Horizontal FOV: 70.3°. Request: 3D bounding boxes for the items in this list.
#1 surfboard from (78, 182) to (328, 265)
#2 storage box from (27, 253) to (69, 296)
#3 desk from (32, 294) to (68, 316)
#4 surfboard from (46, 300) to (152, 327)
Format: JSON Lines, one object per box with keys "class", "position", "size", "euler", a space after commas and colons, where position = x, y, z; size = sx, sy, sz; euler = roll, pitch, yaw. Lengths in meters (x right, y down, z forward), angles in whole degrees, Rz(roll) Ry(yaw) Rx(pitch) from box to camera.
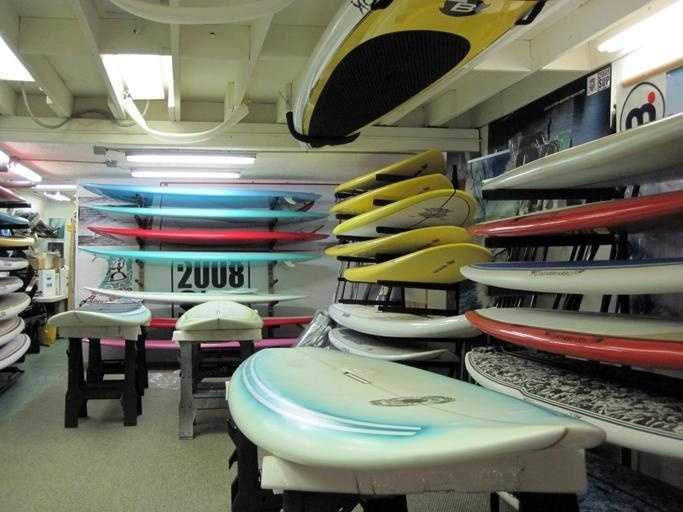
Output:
{"class": "surfboard", "position": [-1.461, -0.350, 5.390], "size": [2.462, 0.818, 0.655], "euler": [1, 4, -5]}
{"class": "storage box", "position": [-3.851, 0.251, 6.317], "size": [0.535, 0.426, 0.789], "euler": [-2, 2, -9]}
{"class": "desk", "position": [-3.947, 0.660, 6.587], "size": [0.452, 0.146, 0.579], "euler": [-1, 1, -14]}
{"class": "surfboard", "position": [-1.666, 0.452, 3.529], "size": [0.361, 0.178, 0.697], "euler": [3, 4, 31]}
